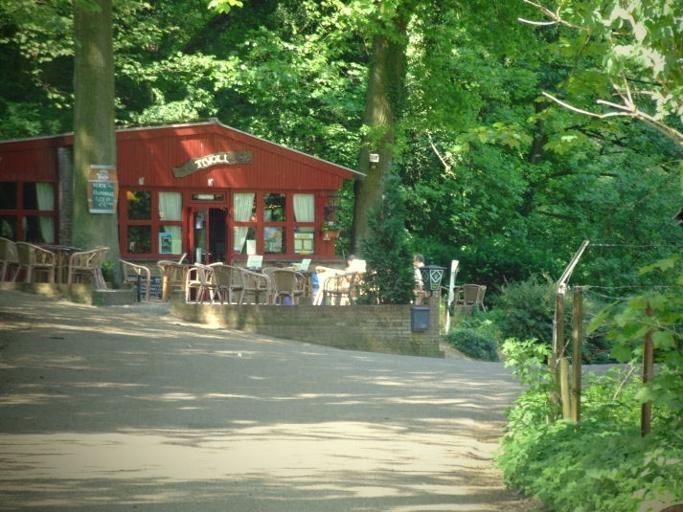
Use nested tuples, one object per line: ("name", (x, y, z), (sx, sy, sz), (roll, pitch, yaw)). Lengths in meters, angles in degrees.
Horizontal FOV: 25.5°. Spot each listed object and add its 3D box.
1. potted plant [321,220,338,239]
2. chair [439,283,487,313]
("potted plant", (-0.395, -0.839, 43.408), (0.515, 0.565, 0.478), (1, -4, -9))
("chair", (3.657, 1.209, 45.104), (1.003, 1.379, 0.959), (0, 4, -2))
